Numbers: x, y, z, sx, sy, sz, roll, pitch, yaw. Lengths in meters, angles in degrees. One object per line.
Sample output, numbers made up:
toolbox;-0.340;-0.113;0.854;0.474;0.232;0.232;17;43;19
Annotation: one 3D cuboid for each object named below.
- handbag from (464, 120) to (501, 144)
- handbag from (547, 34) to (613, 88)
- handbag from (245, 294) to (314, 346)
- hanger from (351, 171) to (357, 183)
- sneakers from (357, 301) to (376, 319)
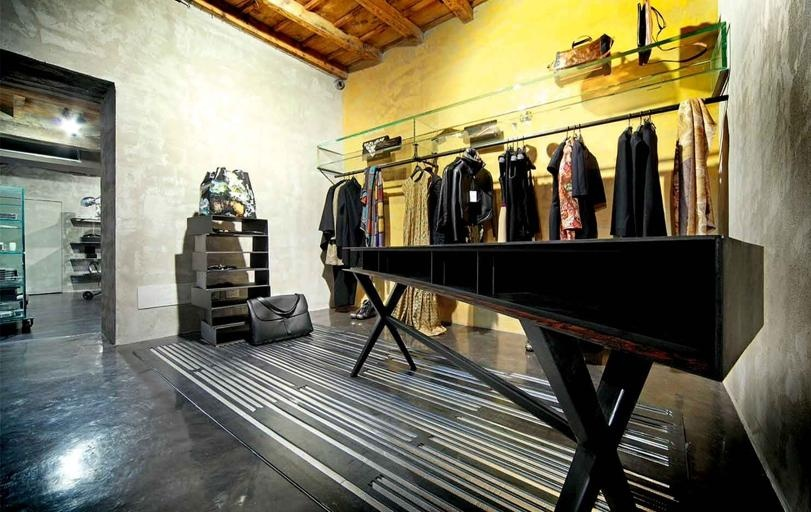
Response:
handbag;0.849;-1.365;5.203;0.336;0.216;0.078;-2;20;35
handbag;1.744;-1.909;4.666;0.641;0.514;0.313;-10;-14;42
handbag;-1.363;0.669;5.118;0.699;0.491;0.267;-5;-2;-43
hanger;-0.707;-1.059;6.466;0.111;0.149;0.407;-1;8;-6
sneakers;-0.507;0.676;5.979;0.266;0.194;0.248;-2;8;-9
